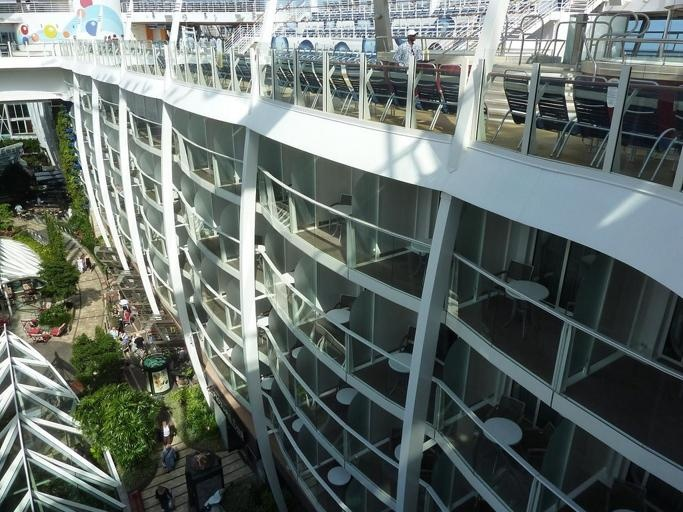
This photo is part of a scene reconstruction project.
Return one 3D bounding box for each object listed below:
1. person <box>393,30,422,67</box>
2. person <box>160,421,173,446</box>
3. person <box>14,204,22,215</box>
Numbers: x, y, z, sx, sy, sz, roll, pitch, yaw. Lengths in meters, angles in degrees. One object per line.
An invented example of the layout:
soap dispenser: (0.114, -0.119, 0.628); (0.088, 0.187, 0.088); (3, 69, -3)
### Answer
person: (1.332, -3.804, 9.956); (0.572, 1.004, 0.327); (1, -4, -7)
person: (-5.639, 5.604, 16.550); (0.304, 0.783, 0.790); (-8, 27, -22)
person: (-21.662, -3.009, 34.512); (0.536, 0.495, 1.096); (-24, 8, -27)
